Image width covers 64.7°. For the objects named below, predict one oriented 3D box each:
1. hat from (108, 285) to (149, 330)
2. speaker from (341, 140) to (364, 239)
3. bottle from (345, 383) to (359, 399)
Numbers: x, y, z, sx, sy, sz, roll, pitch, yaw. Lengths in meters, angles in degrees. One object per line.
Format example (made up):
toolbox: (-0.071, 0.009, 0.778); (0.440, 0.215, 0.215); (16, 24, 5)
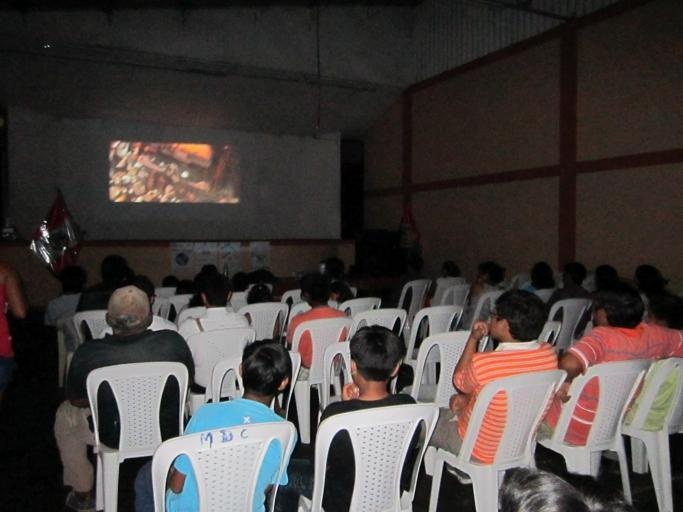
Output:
hat: (-1.249, 0.328, 3.165); (0.223, 0.330, 0.252); (-4, 50, -24)
speaker: (0.253, -1.292, 12.382); (0.227, 2.533, 0.905); (4, 23, 28)
bottle: (0.056, 0.747, 2.962); (0.063, 0.094, 0.084); (-2, -22, 1)
